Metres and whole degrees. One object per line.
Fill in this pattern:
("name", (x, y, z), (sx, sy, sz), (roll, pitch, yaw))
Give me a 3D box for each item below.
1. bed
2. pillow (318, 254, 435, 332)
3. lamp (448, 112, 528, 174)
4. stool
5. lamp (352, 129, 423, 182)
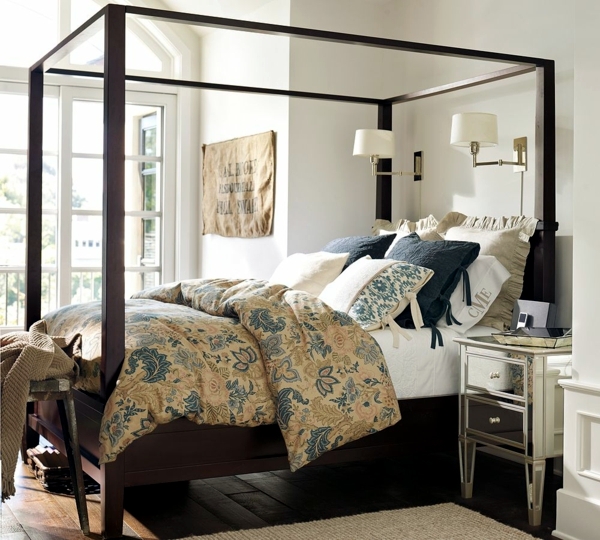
("bed", (-0.100, -0.197, 3.208), (2.823, 1.984, 2.029), (-4, 9, -27))
("pillow", (0.420, 0.082, 2.666), (0.407, 0.122, 0.403), (-41, 47, -15))
("lamp", (1.122, -0.752, 3.356), (0.539, 0.364, 0.293), (0, -2, -30))
("stool", (-0.936, 0.708, 2.100), (0.180, 0.635, 0.321), (-4, 8, -24))
("lamp", (0.634, -0.790, 3.817), (0.487, 0.350, 0.282), (-1, 6, -15))
